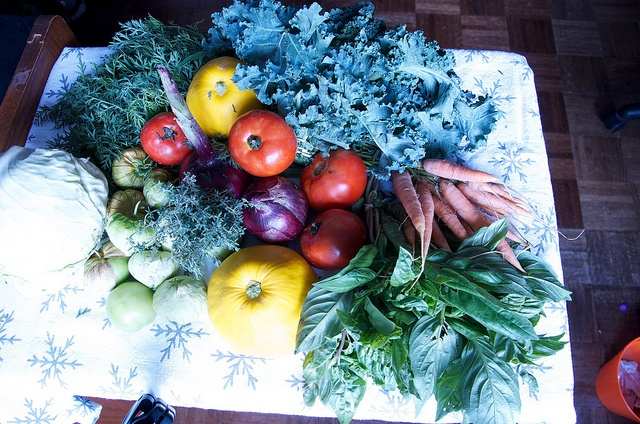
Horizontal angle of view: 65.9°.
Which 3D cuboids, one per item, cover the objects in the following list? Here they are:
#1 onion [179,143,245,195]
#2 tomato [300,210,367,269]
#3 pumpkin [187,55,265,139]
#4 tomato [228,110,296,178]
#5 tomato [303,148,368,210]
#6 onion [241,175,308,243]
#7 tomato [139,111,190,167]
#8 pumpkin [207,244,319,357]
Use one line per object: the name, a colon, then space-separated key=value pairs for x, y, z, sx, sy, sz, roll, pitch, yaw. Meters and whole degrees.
onion: x=-0.330 y=-0.117 z=1.624 sx=0.152 sy=0.151 sz=0.155 roll=39 pitch=91 yaw=20
tomato: x=0.051 y=0.082 z=1.655 sx=0.193 sy=0.194 sz=0.180 roll=-3 pitch=60 yaw=-37
pumpkin: x=-0.363 y=-0.389 z=1.706 sx=0.199 sy=0.202 sz=0.182 roll=-2 pitch=60 yaw=5
tomato: x=-0.186 y=-0.212 z=1.615 sx=0.220 sy=0.230 sz=0.216 roll=-8 pitch=87 yaw=5
tomato: x=0.047 y=-0.105 z=1.626 sx=0.196 sy=0.100 sz=0.180 roll=-2 pitch=75 yaw=-5
onion: x=-0.141 y=-0.009 z=1.584 sx=0.204 sy=0.149 sz=0.207 roll=5 pitch=75 yaw=-3
tomato: x=-0.502 y=-0.233 z=1.692 sx=0.162 sy=0.167 sz=0.171 roll=29 pitch=83 yaw=-14
pumpkin: x=-0.195 y=0.272 z=1.558 sx=0.318 sy=0.113 sz=0.348 roll=20 pitch=74 yaw=1
